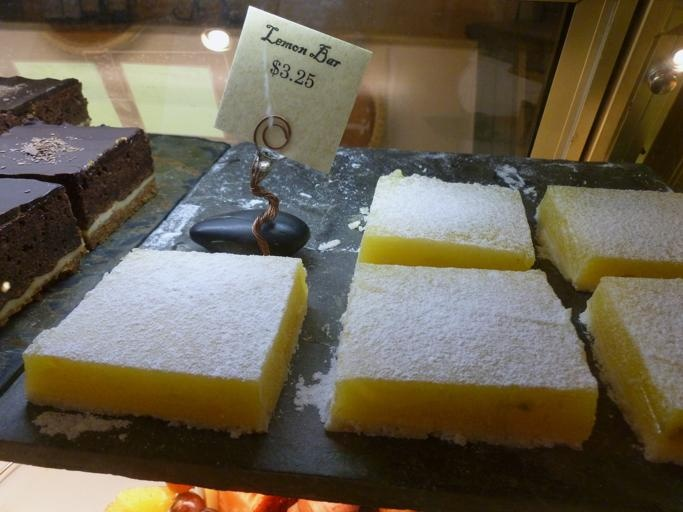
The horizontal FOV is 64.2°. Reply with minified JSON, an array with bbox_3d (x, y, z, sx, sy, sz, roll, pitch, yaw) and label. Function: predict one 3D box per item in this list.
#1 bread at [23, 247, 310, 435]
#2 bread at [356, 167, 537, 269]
[{"bbox_3d":[-0.490,0.213,1.634,0.702,0.298,0.499,8,31,5],"label":"bread"},{"bbox_3d":[0.373,-0.116,1.986,0.575,0.186,0.445,7,31,3],"label":"bread"}]
